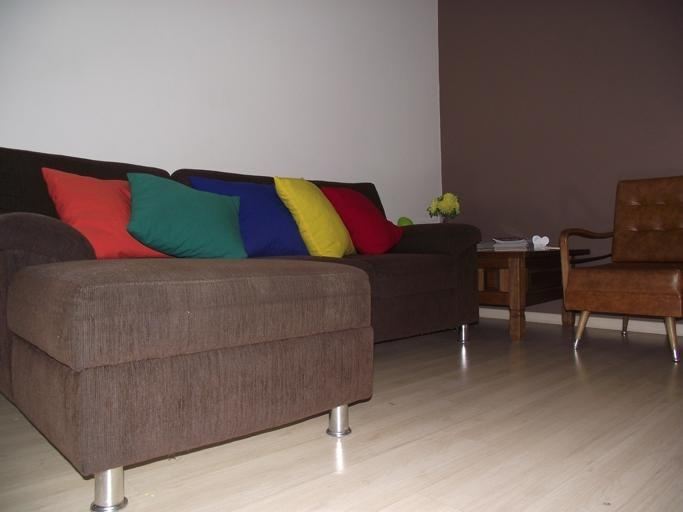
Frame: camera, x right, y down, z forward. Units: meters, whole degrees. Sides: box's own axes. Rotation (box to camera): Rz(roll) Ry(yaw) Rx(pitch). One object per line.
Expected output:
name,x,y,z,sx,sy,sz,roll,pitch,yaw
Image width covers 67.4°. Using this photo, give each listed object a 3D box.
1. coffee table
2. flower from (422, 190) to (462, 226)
coffee table,1.175,0.191,3.239,0.596,0.453,0.605,-1,2,31
flower,0.787,-0.366,3.943,0.306,0.213,0.294,-4,6,-5
